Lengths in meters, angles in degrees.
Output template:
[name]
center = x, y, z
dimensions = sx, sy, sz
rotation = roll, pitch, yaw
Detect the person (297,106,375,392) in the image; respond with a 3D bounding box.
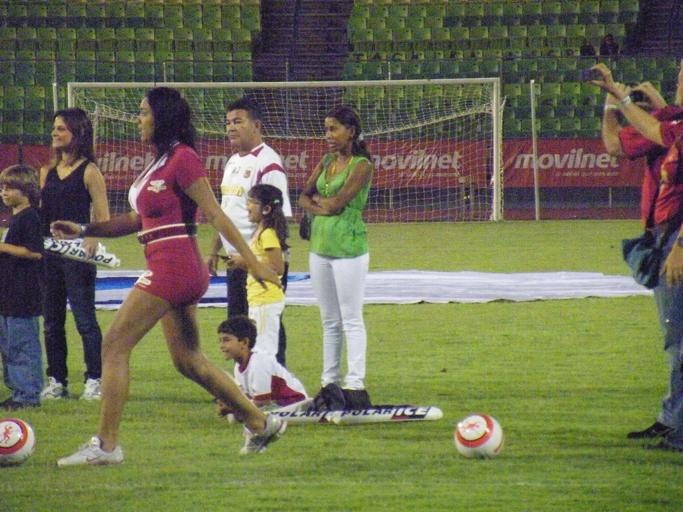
[person]
center = -0.069, -0.101, 21.759
dimensions = 0.911, 3.598, 0.664
rotation = 3, 7, 7

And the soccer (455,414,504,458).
[soccer]
center = 1.707, 2.255, 20.942
dimensions = 0.529, 0.389, 0.531
rotation = 17, 48, 39

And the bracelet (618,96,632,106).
[bracelet]
center = 3.578, -1.932, 20.947
dimensions = 0.098, 0.124, 0.190
rotation = 8, 9, 43

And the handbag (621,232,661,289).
[handbag]
center = 3.766, 0.045, 20.952
dimensions = 0.527, 0.672, 0.231
rotation = -16, -4, 23
